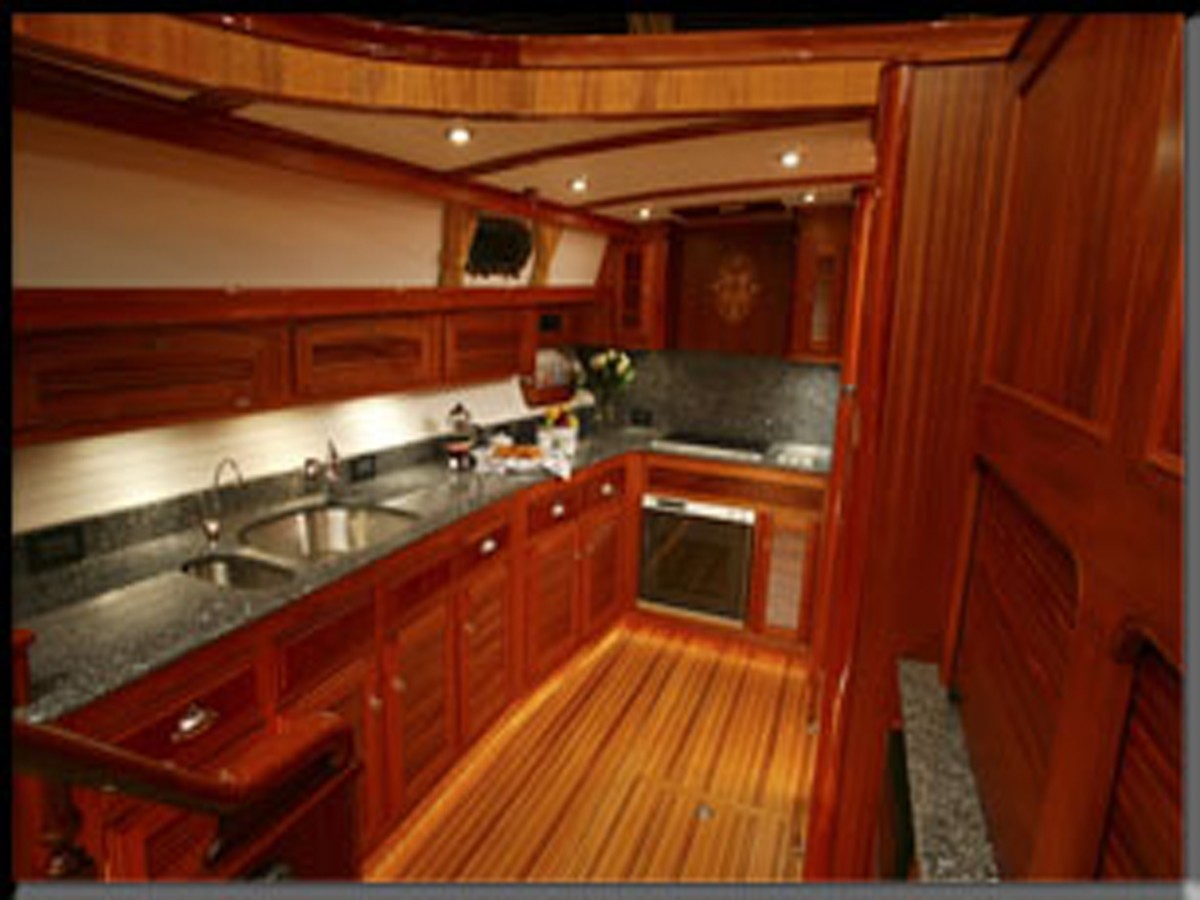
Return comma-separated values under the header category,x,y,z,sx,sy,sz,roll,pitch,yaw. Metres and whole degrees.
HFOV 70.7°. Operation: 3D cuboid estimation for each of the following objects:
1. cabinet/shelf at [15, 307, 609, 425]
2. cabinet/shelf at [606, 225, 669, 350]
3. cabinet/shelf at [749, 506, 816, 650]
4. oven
category,x,y,z,sx,sy,sz,roll,pitch,yaw
cabinet/shelf,-1.006,-0.323,3.045,0.098,0.329,1.996,11,16,31
cabinet/shelf,0.189,-0.889,4.641,0.374,0.644,0.104,9,16,26
cabinet/shelf,0.873,0.606,4.069,0.303,0.656,0.077,10,16,27
oven,0.541,0.552,4.455,0.641,0.593,0.502,6,7,14
